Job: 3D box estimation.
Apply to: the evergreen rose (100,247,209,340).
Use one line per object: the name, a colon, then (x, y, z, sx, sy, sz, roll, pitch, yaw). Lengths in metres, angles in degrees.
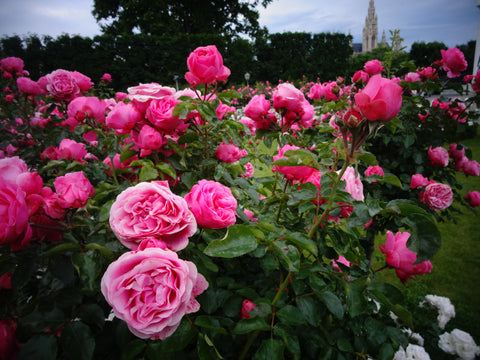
evergreen rose: (-0.369, 0.435, 1.497, 0.389, 0.188, 0.383, 28, 72, -4)

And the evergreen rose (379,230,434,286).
evergreen rose: (0.935, 0.479, 2.018, 0.348, 0.199, 0.316, 38, 46, -23)

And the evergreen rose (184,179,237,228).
evergreen rose: (-0.155, 0.152, 1.659, 0.229, 0.142, 0.223, 38, 38, 1)

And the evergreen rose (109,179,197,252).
evergreen rose: (-0.389, 0.164, 1.515, 0.268, 0.154, 0.327, 17, 53, -7)
